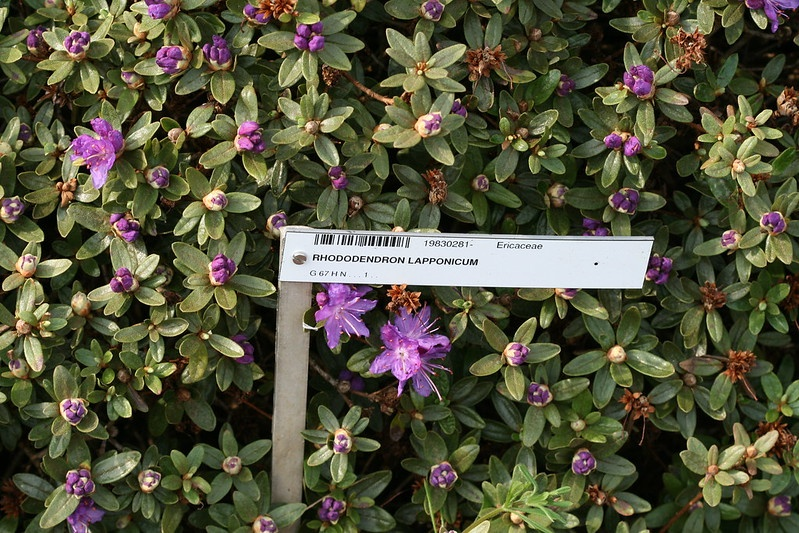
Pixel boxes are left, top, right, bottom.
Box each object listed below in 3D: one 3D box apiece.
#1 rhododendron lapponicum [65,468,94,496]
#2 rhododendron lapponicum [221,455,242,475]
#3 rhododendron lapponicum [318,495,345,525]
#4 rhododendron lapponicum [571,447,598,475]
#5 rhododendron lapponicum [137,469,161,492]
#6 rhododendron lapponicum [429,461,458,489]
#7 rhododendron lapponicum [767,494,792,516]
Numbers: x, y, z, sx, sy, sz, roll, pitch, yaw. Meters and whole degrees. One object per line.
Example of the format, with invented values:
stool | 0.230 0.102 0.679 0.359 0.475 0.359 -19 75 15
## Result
rhododendron lapponicum | -1.191 0.799 2.743 0.080 0.044 0.109 -22 86 -19
rhododendron lapponicum | -0.647 0.776 2.863 0.075 0.045 0.066 -1 73 0
rhododendron lapponicum | -0.270 0.981 2.945 0.105 0.080 0.108 16 74 5
rhododendron lapponicum | 0.715 0.770 2.888 0.091 0.054 0.102 38 85 15
rhododendron lapponicum | -0.951 0.824 2.817 0.084 0.041 0.083 -15 93 29
rhododendron lapponicum | 0.167 0.824 2.895 0.085 0.054 0.112 4 87 1
rhododendron lapponicum | 1.628 1.038 3.180 0.110 0.095 0.087 -1 73 0
